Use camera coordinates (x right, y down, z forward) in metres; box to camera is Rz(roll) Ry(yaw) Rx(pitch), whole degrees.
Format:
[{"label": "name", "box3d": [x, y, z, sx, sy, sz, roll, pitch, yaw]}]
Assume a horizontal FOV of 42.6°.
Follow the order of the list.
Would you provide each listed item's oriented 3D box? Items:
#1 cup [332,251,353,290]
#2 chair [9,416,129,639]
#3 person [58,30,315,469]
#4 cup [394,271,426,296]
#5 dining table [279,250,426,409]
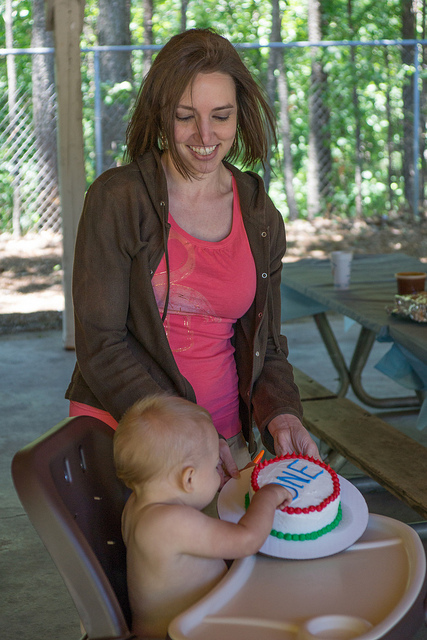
[{"label": "cup", "box3d": [0.715, -0.281, 3.074, 0.101, 0.208, 0.181, 2, 11, 12]}, {"label": "chair", "box3d": [-0.275, 0.389, 1.110, 0.198, 0.346, 0.424, -2, 11, -8]}, {"label": "person", "box3d": [-0.050, -0.134, 1.446, 0.675, 1.213, 0.570, -4, 12, -22]}, {"label": "cup", "box3d": [0.935, -0.162, 2.520, 0.130, 0.103, 0.204, -1, 10, -7]}, {"label": "dining table", "box3d": [0.835, 0.079, 3.276, 0.683, 0.598, 1.231, -5, 19, -9]}]
